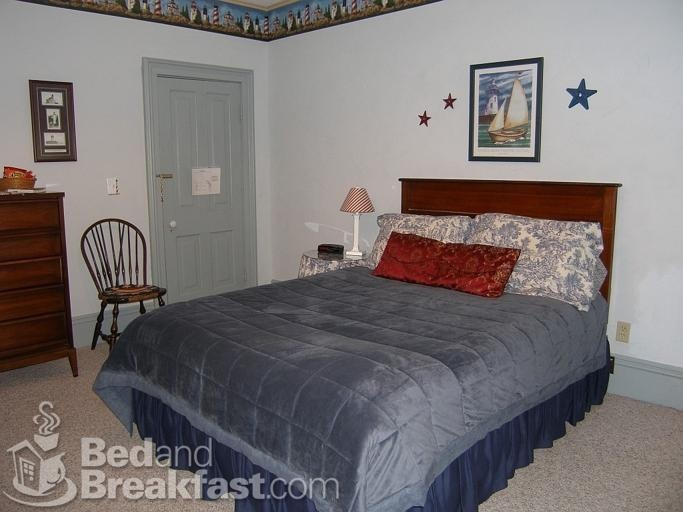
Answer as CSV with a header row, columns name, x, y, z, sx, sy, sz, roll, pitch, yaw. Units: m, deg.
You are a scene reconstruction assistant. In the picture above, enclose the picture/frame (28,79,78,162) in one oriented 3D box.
name,x,y,z,sx,sy,sz,roll,pitch,yaw
picture/frame,-2.415,-1.117,3.854,0.326,0.664,0.103,-7,14,-29
